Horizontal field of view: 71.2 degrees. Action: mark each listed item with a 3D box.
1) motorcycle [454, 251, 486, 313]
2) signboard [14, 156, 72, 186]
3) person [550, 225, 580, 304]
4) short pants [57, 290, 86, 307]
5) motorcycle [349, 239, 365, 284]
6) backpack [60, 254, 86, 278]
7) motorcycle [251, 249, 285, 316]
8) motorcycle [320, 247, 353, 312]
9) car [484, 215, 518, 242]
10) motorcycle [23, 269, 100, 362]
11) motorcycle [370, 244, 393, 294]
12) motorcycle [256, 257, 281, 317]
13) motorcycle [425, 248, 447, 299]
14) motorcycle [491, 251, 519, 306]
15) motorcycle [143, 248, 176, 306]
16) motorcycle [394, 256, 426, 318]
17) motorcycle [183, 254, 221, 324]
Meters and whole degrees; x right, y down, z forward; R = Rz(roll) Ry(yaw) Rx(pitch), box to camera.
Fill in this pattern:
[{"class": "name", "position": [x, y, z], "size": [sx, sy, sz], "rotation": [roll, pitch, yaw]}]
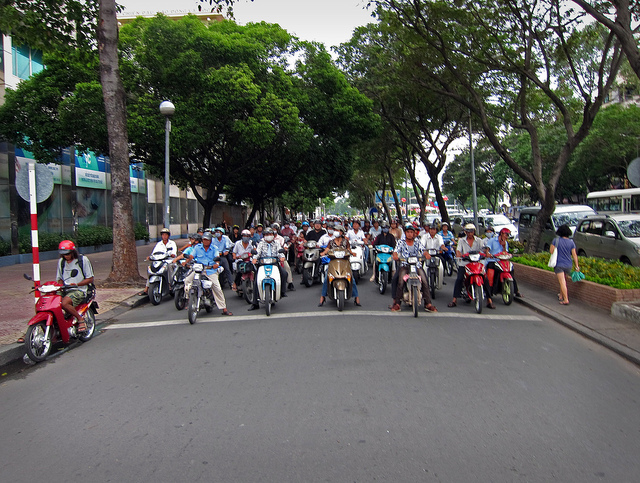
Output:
[{"class": "motorcycle", "position": [3.506, 0.880, 10.054], "size": [0.447, 1.301, 1.297], "rotation": [-1, 4, 9]}, {"class": "signboard", "position": [-15.209, -3.898, 25.003], "size": [1.039, 1.327, 5.509], "rotation": [-3, 5, -10]}, {"class": "person", "position": [5.762, 0.510, 10.529], "size": [0.555, 1.802, 0.732], "rotation": [1, 5, 31]}, {"class": "short pants", "position": [-4.288, 0.960, 7.765], "size": [0.185, 0.225, 0.326], "rotation": [-3, -9, 17]}, {"class": "motorcycle", "position": [1.168, 0.407, 14.389], "size": [0.578, 1.167, 1.853], "rotation": [-5, 15, 8]}, {"class": "backpack", "position": [-4.357, 0.432, 7.962], "size": [0.272, 0.462, 0.377], "rotation": [6, 8, 27]}, {"class": "motorcycle", "position": [-1.124, 0.949, 9.846], "size": [0.493, 1.173, 1.006], "rotation": [-2, 4, -9]}, {"class": "motorcycle", "position": [0.461, 0.834, 10.149], "size": [0.589, 1.371, 0.897], "rotation": [-2, 4, 1]}, {"class": "car", "position": [8.046, -0.632, 19.938], "size": [1.151, 1.217, 2.286], "rotation": [-4, 9, -2]}, {"class": "motorcycle", "position": [-4.294, 1.182, 7.347], "size": [0.516, 1.296, 1.562], "rotation": [-2, 4, -8]}, {"class": "motorcycle", "position": [1.786, 0.736, 12.427], "size": [0.436, 1.301, 0.764], "rotation": [-2, 4, -2]}, {"class": "motorcycle", "position": [-1.168, 0.972, 9.854], "size": [0.507, 1.195, 1.013], "rotation": [-1, 4, 6]}, {"class": "motorcycle", "position": [3.059, 0.704, 12.063], "size": [0.651, 1.244, 1.932], "rotation": [-1, 6, 16]}, {"class": "motorcycle", "position": [4.381, 0.862, 10.652], "size": [0.460, 1.251, 0.565], "rotation": [1, 5, 29]}, {"class": "motorcycle", "position": [-4.195, 0.920, 11.730], "size": [0.592, 1.419, 0.962], "rotation": [-1, 4, 8]}, {"class": "motorcycle", "position": [2.037, 0.934, 9.688], "size": [0.639, 1.216, 1.255], "rotation": [-2, 4, -4]}, {"class": "motorcycle", "position": [-2.538, 1.012, 9.885], "size": [0.525, 1.302, 1.891], "rotation": [3, 1, 2]}]
